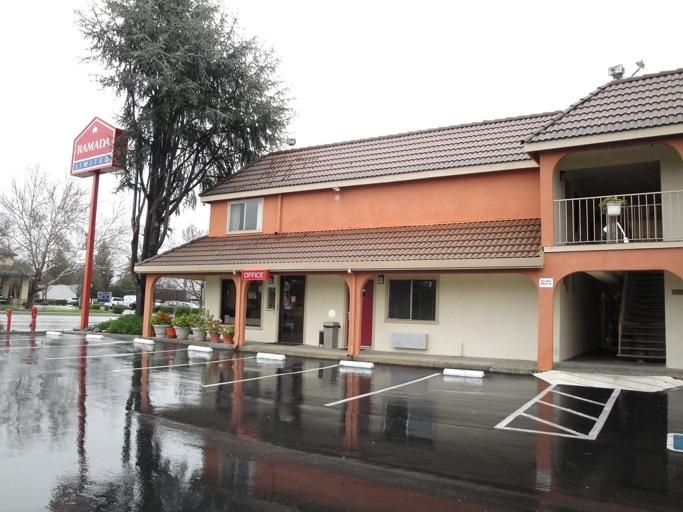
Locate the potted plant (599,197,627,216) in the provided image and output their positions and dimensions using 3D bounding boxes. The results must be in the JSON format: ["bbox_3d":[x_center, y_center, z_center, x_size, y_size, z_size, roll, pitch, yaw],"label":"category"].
[{"bbox_3d":[7.803,-1.443,14.173,0.590,0.650,1.415,-1,-3,27],"label":"potted plant"}]

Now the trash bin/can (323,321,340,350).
[{"bbox_3d":[-0.358,3.036,18.809,0.601,0.978,0.470,1,-2,-9],"label":"trash bin/can"}]

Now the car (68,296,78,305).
[{"bbox_3d":[-37.878,6.364,69.423,1.592,0.807,0.970,-6,-7,37],"label":"car"}]
